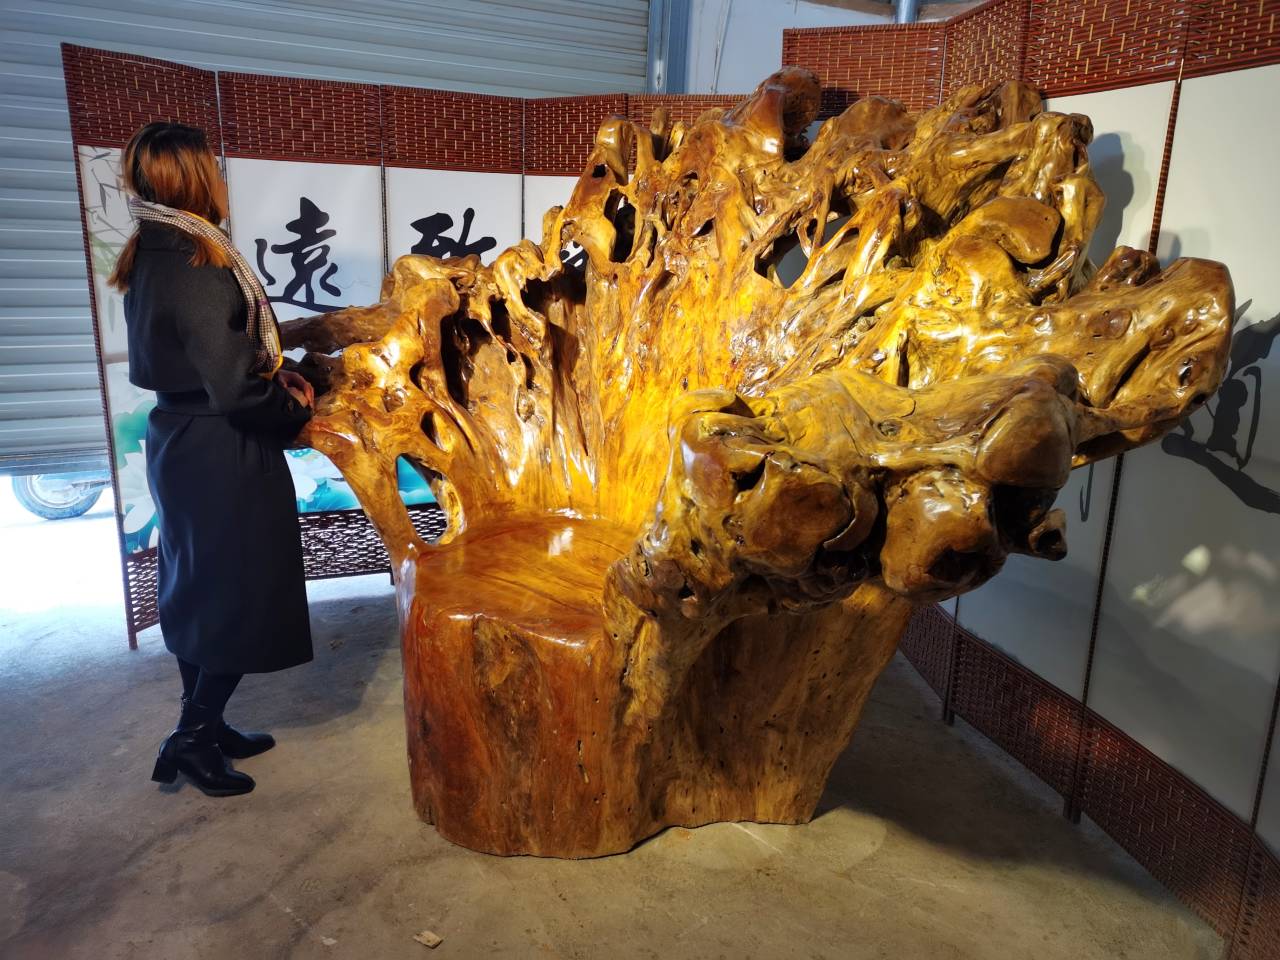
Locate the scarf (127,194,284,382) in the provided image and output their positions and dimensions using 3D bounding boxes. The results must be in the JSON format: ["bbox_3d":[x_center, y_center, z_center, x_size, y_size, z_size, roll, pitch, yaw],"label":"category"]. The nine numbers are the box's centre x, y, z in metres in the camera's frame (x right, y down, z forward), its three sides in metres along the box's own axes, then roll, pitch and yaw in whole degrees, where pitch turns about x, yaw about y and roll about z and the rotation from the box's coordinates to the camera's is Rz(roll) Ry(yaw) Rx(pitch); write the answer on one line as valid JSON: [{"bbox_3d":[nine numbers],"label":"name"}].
[{"bbox_3d":[-1.415,-0.626,2.787,0.421,0.564,0.119,4,20,9],"label":"scarf"}]
